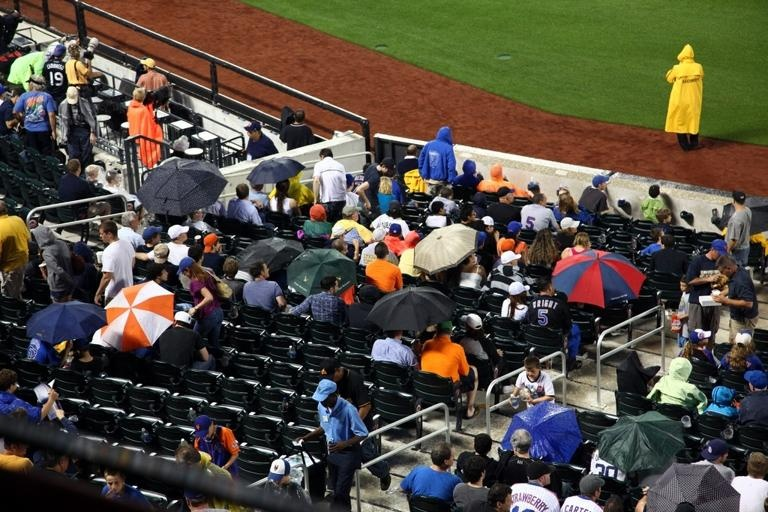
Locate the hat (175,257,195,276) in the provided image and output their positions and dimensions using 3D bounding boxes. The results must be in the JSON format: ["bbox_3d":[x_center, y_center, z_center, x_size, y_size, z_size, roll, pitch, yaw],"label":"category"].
[{"bbox_3d":[-3.490,0.190,28.886,0.231,0.165,0.337,-1,21,8],"label":"hat"}]

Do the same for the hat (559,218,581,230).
[{"bbox_3d":[3.559,-0.600,31.257,0.353,0.155,0.209,-11,25,-7],"label":"hat"}]

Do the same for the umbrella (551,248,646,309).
[{"bbox_3d":[3.812,0.248,29.987,1.732,0.593,1.571,7,35,-4],"label":"umbrella"}]

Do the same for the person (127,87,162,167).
[{"bbox_3d":[-5.046,-2.719,34.636,0.728,1.463,1.778,1,23,-8],"label":"person"}]

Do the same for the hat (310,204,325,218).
[{"bbox_3d":[-1.284,-0.856,32.016,0.212,0.146,0.293,8,31,10],"label":"hat"}]

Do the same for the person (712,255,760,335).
[{"bbox_3d":[6.337,0.783,29.688,0.820,1.728,0.844,1,30,21],"label":"person"}]

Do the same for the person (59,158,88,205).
[{"bbox_3d":[-6.060,-1.432,32.177,0.708,0.837,0.590,13,20,22],"label":"person"}]

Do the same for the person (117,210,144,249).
[{"bbox_3d":[-4.794,-0.502,30.853,0.453,0.596,0.814,-17,22,-40],"label":"person"}]

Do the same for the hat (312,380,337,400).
[{"bbox_3d":[-0.947,2.194,26.251,0.264,0.139,0.402,17,35,24],"label":"hat"}]

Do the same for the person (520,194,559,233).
[{"bbox_3d":[3.051,-0.793,32.421,0.465,0.780,0.483,26,54,26],"label":"person"}]

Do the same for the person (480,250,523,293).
[{"bbox_3d":[2.200,0.330,30.442,0.590,0.677,0.406,18,37,33],"label":"person"}]

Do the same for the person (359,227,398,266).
[{"bbox_3d":[-0.042,-0.153,30.936,0.545,0.687,0.852,14,11,5],"label":"person"}]

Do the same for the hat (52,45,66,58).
[{"bbox_3d":[-7.024,-4.415,35.430,0.243,0.259,0.333,5,22,1],"label":"hat"}]

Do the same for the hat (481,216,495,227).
[{"bbox_3d":[2.019,-0.635,31.399,0.233,0.107,0.151,17,14,-18],"label":"hat"}]

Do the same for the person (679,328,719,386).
[{"bbox_3d":[5.497,1.823,28.533,0.562,1.128,0.594,18,46,35],"label":"person"}]

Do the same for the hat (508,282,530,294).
[{"bbox_3d":[2.438,0.599,29.498,0.323,0.147,0.201,-15,24,-16],"label":"hat"}]

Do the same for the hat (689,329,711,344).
[{"bbox_3d":[5.515,1.402,28.614,0.349,0.265,0.317,9,23,9],"label":"hat"}]

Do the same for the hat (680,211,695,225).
[{"bbox_3d":[6.283,-0.766,33.921,0.231,0.114,0.316,4,-22,46],"label":"hat"}]

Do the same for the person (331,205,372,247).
[{"bbox_3d":[-0.630,-0.550,31.788,1.104,0.724,0.593,-4,-1,25],"label":"person"}]

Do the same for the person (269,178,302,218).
[{"bbox_3d":[-2.015,-1.139,33.228,0.556,0.803,0.508,16,40,16],"label":"person"}]

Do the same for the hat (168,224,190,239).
[{"bbox_3d":[-3.762,-0.425,30.197,0.342,0.159,0.234,-22,30,-17],"label":"hat"}]

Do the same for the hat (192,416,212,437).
[{"bbox_3d":[-2.918,2.765,26.305,0.272,0.192,0.337,5,44,8],"label":"hat"}]

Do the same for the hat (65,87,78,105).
[{"bbox_3d":[-6.422,-3.329,33.856,0.264,0.339,0.127,0,-19,-1],"label":"hat"}]

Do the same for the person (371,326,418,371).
[{"bbox_3d":[0.174,1.700,28.325,1.056,0.690,0.498,10,20,27],"label":"person"}]

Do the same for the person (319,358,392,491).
[{"bbox_3d":[-0.555,2.901,27.128,0.983,2.396,0.845,-6,20,16],"label":"person"}]

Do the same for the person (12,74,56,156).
[{"bbox_3d":[-7.244,-2.815,34.137,0.783,1.252,1.095,-7,26,-26],"label":"person"}]

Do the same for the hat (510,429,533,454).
[{"bbox_3d":[2.201,3.007,26.411,0.374,0.453,0.358,-4,44,2],"label":"hat"}]

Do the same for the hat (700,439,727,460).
[{"bbox_3d":[5.320,3.147,26.374,0.280,0.138,0.392,19,40,43],"label":"hat"}]

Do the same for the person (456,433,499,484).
[{"bbox_3d":[1.565,3.329,26.457,0.797,0.760,0.459,10,26,21],"label":"person"}]

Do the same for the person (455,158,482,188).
[{"bbox_3d":[1.772,-1.699,34.522,0.385,0.389,0.762,4,22,7],"label":"person"}]

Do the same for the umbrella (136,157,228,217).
[{"bbox_3d":[-3.915,-1.101,31.566,1.622,1.189,1.084,-2,24,-15],"label":"umbrella"}]
